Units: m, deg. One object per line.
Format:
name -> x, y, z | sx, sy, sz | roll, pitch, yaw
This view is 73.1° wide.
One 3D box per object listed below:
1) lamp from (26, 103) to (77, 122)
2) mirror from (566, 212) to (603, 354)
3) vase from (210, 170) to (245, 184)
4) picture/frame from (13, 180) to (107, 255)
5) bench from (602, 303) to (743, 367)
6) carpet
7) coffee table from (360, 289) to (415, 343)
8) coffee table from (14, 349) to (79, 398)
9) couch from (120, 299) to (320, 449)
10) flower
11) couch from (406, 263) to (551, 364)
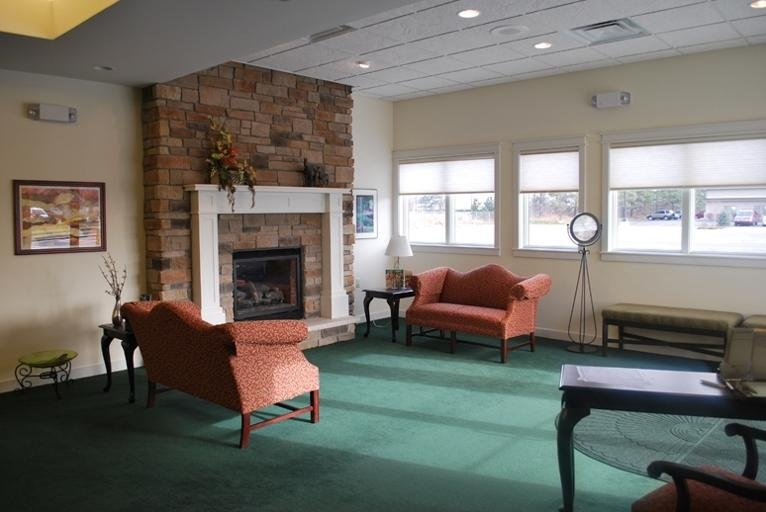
lamp -> -3.814, -1.630, 5.909 | 0.294, 0.089, 0.281 | 0, 4, 3
mirror -> 2.813, 0.348, 7.240 | 0.495, 1.967, 0.592 | -2, 4, -31
vase -> -1.990, -0.999, 6.563 | 0.208, 0.114, 0.300 | 1, 0, 39
picture/frame -> -3.808, -0.454, 5.995 | 1.099, 0.888, 0.080 | -1, 2, -34
bench -> 3.627, 1.004, 6.596 | 1.525, 0.721, 0.589 | 7, 14, 33
carpet -> 2.516, 1.666, 4.617 | 1.330, 0.008, 1.126 | 0, 1, -7
coffee table -> 0.014, 0.882, 8.034 | 0.860, 0.691, 0.893 | 4, 6, 39
coffee table -> -3.784, 1.253, 5.850 | 0.612, 0.347, 0.602 | 8, 8, 30
couch -> -1.525, 0.854, 5.197 | 2.530, 1.210, 1.371 | 2, 3, 38
flower -> -1.959, -1.173, 6.634 | 0.602, 1.196, 0.471 | -7, 15, -25
couch -> 1.260, 0.726, 7.233 | 1.690, 1.107, 0.956 | 7, 15, 35
